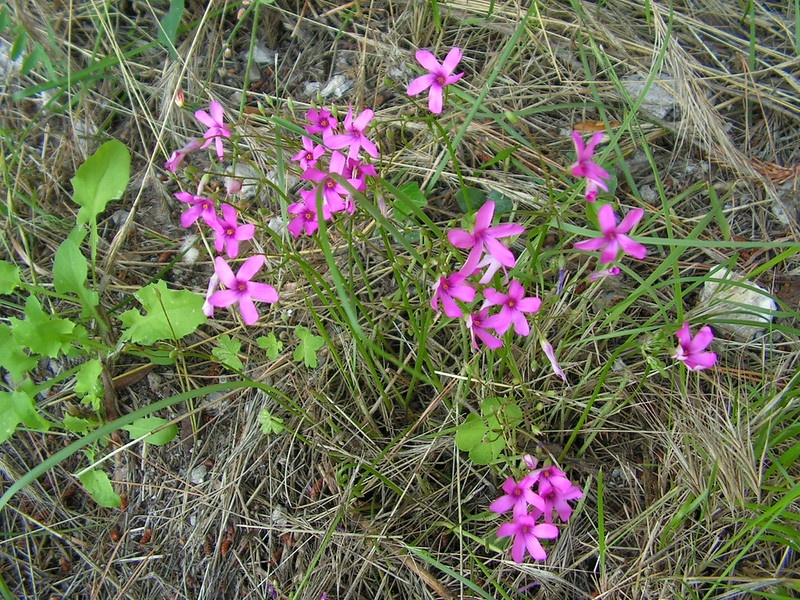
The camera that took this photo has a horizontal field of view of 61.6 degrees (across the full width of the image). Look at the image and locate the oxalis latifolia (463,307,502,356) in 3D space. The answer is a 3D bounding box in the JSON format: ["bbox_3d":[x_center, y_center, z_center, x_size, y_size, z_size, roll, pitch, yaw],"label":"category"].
[{"bbox_3d":[0.380,0.139,3.121,0.168,0.089,0.178,-37,107,-2],"label":"oxalis latifolia"}]

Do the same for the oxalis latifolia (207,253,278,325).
[{"bbox_3d":[-0.733,-0.036,3.089,0.299,0.108,0.297,4,112,-20],"label":"oxalis latifolia"}]

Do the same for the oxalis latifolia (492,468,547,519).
[{"bbox_3d":[0.547,1.005,3.300,0.258,0.494,0.166,-6,61,-5],"label":"oxalis latifolia"}]

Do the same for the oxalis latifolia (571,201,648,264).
[{"bbox_3d":[0.904,-0.276,2.815,0.091,0.233,0.259,-9,95,-35],"label":"oxalis latifolia"}]

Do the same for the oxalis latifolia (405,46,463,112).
[{"bbox_3d":[0.190,-1.060,3.230,0.328,0.357,0.138,-12,79,38],"label":"oxalis latifolia"}]

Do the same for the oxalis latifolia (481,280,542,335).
[{"bbox_3d":[0.506,0.044,3.107,0.101,0.295,0.345,3,102,-15],"label":"oxalis latifolia"}]

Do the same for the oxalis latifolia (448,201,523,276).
[{"bbox_3d":[0.344,-0.258,2.920,0.120,0.357,0.321,40,102,36],"label":"oxalis latifolia"}]

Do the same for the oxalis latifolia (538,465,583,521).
[{"bbox_3d":[0.734,0.912,3.258,0.239,0.101,0.267,-25,113,11],"label":"oxalis latifolia"}]

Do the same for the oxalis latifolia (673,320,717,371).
[{"bbox_3d":[1.359,0.232,3.046,0.128,0.245,0.277,-16,78,26],"label":"oxalis latifolia"}]

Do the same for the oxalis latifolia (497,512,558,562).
[{"bbox_3d":[0.593,1.095,3.182,0.279,0.107,0.286,14,100,-17],"label":"oxalis latifolia"}]

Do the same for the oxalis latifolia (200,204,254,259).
[{"bbox_3d":[-0.814,-0.313,3.169,0.244,0.088,0.265,-31,93,-20],"label":"oxalis latifolia"}]
